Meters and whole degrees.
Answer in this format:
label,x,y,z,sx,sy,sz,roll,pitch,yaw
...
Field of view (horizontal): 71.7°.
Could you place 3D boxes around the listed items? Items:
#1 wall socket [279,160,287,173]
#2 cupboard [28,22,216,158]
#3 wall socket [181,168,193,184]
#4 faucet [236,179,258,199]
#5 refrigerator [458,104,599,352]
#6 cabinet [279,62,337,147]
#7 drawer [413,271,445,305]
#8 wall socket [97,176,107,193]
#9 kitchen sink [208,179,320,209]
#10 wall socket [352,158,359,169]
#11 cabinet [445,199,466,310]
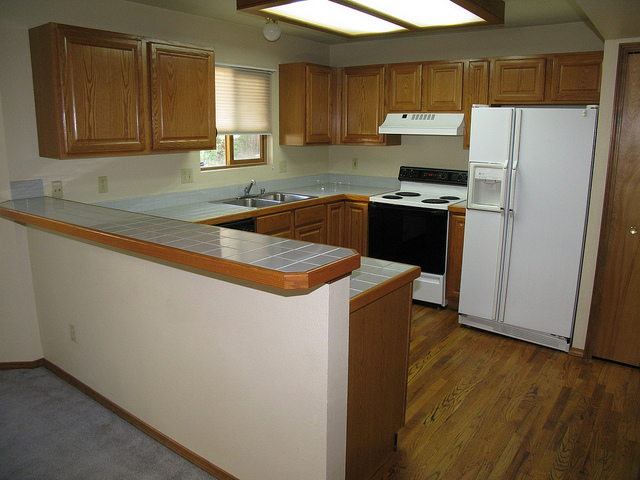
label,x,y,z,sx,sy,sz,roll,pitch,yaw
wall socket,-0.449,-0.890,5.357,0.016,0.148,0.138,7,17,33
cupboard,-1.546,-1.206,3.729,0.474,0.967,1.365,25,27,38
wall socket,-1.325,-0.638,4.372,0.131,0.145,0.014,-13,24,-42
faucet,-0.813,-0.561,4.874,0.232,0.188,0.220,-5,15,-9
refrigerator,2.030,-0.068,4.246,1.068,2.246,0.881,10,15,38
cabinet,-0.136,-1.629,5.338,0.433,0.947,0.630,11,17,38
drawer,1.117,0.475,4.508,0.341,0.365,0.239,9,20,32
wall socket,-1.876,-0.475,3.811,0.016,0.134,0.093,7,17,34
kitchen sink,-0.722,-0.460,4.888,0.891,0.353,1.460,13,16,42
wall socket,0.461,-1.004,5.801,0.110,0.160,0.024,12,22,35
cabinet,1.369,0.167,4.653,0.200,1.010,0.289,8,15,25
